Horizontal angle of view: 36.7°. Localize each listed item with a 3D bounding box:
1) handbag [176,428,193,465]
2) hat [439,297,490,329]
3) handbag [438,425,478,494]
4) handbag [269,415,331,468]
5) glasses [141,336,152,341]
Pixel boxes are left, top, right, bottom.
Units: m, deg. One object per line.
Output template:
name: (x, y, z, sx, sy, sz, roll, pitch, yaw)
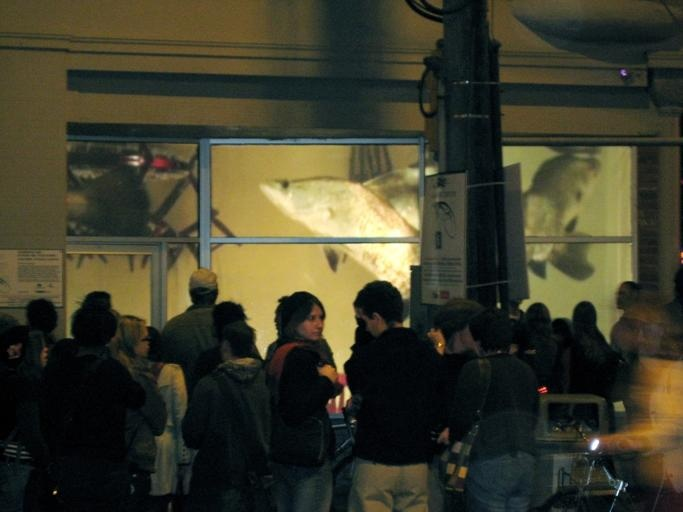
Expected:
handbag: (-1.716, 2.041, 11.129, 0.146, 0.419, 0.311, -1, -2, 15)
hat: (1.131, 0.552, 9.993, 0.268, 0.177, 0.356, -9, -10, -2)
handbag: (1.113, 1.874, 9.645, 0.268, 0.599, 0.339, 7, -15, 13)
handbag: (-0.385, 1.722, 9.612, 0.545, 0.419, 0.431, 5, -13, -7)
glasses: (-2.061, 0.854, 10.761, 0.065, 0.067, 0.018, 1, -23, -12)
